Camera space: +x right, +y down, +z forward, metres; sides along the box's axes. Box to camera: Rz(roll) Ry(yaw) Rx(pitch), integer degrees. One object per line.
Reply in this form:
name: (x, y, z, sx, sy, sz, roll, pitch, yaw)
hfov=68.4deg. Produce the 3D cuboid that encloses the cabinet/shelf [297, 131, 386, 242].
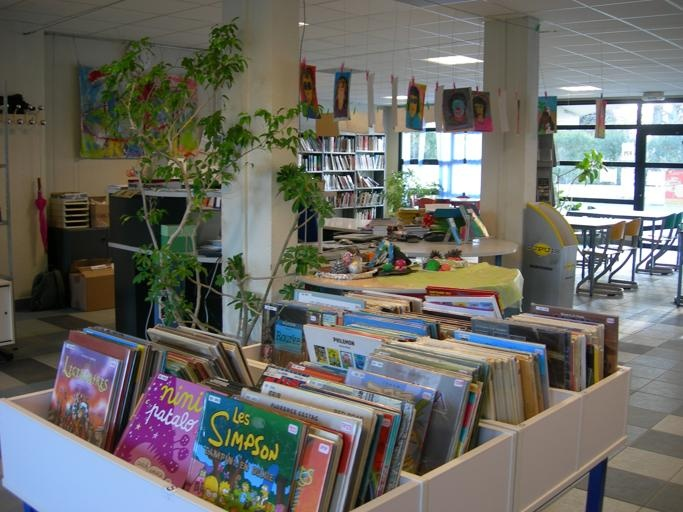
cabinet/shelf: (0.322, -2.196, 14.026, 0.718, 2.353, 3.112, 7, 14, 39)

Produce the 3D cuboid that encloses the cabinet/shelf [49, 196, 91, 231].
cabinet/shelf: (-3.974, -0.656, 7.294, 0.414, 0.437, 0.424, 5, 9, 28)

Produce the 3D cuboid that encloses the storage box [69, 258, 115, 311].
storage box: (-3.462, 0.419, 6.895, 0.444, 0.647, 0.639, 5, 8, 38)

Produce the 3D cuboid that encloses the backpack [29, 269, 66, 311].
backpack: (-4.067, 0.477, 6.921, 0.339, 0.633, 0.550, 2, 2, 34)
